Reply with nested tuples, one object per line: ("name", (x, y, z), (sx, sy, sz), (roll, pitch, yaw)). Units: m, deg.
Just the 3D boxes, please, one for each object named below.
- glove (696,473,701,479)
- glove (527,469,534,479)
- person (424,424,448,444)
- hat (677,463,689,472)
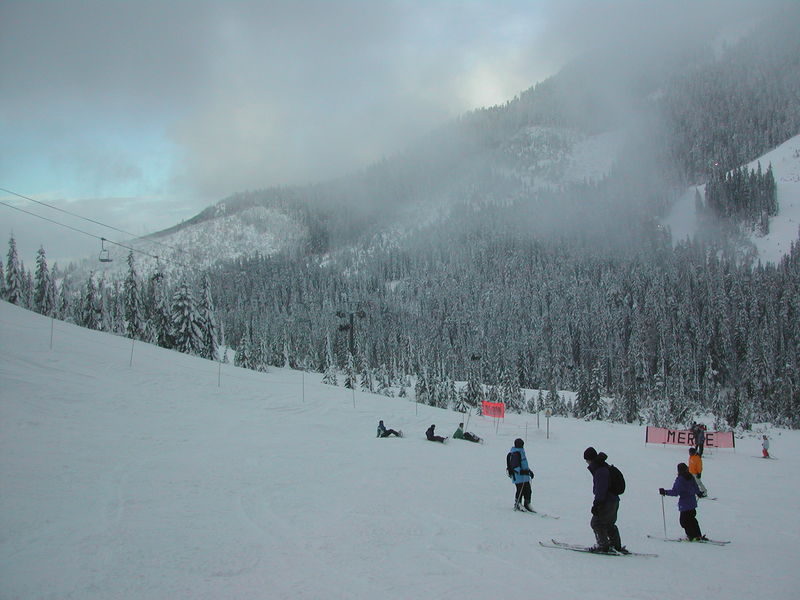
("glove", (20.639, 12.138, 54.211), (0.369, 0.465, 0.727), (-4, -12, 27))
("glove", (8.718, 11.716, 52.216), (0.503, 0.867, 0.203), (9, 16, 25))
("person", (2.874, 10.674, 62.643), (1.415, 1.410, 0.741), (2, -7, -13))
("hat", (18.342, 10.812, 50.727), (0.592, 0.499, 0.579), (-2, -8, 18))
